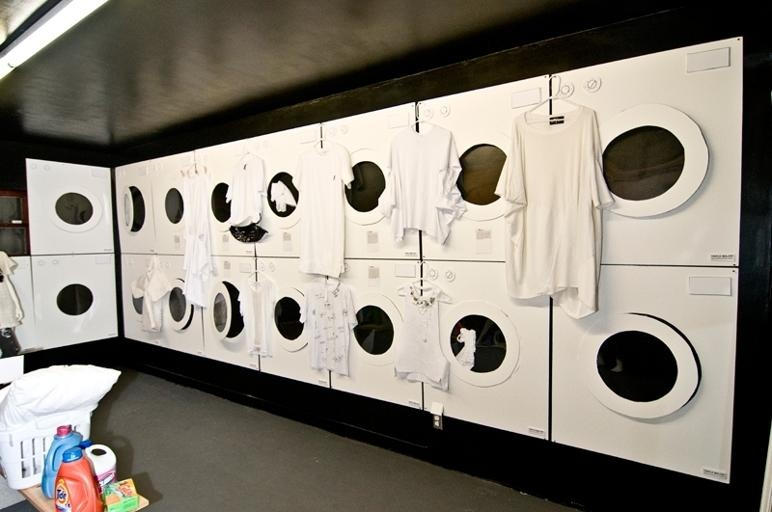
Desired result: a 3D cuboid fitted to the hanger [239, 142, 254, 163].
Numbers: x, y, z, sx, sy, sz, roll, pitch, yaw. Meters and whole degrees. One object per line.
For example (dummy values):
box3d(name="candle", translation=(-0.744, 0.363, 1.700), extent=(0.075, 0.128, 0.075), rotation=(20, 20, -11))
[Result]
box3d(name="hanger", translation=(-1.295, -0.959, 5.199), extent=(0.139, 0.332, 0.015), rotation=(10, 9, 19))

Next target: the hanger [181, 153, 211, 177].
box3d(name="hanger", translation=(-1.900, -0.875, 5.596), extent=(0.247, 0.253, 0.259), rotation=(3, 4, 28))

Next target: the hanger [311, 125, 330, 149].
box3d(name="hanger", translation=(-0.567, -1.031, 4.842), extent=(0.181, 0.358, 0.032), rotation=(4, 7, 37))

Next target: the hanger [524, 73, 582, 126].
box3d(name="hanger", translation=(1.225, -1.129, 4.088), extent=(0.348, 0.336, 0.086), rotation=(3, 11, 26))
